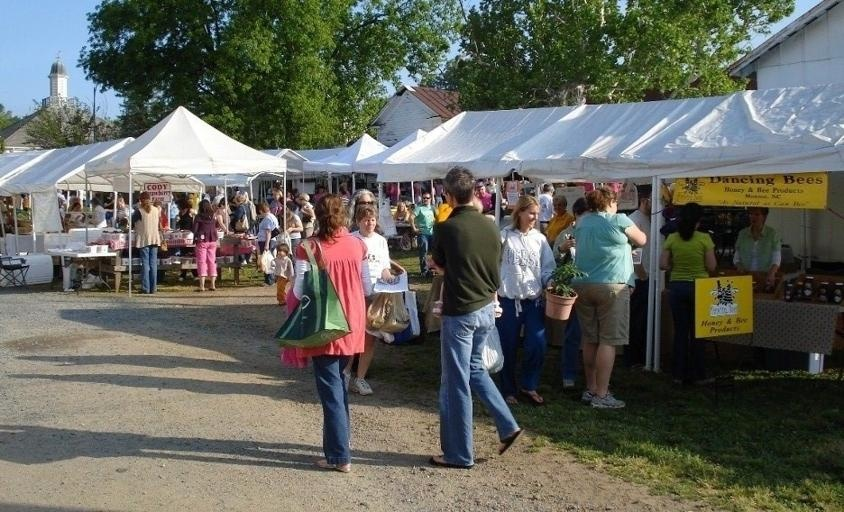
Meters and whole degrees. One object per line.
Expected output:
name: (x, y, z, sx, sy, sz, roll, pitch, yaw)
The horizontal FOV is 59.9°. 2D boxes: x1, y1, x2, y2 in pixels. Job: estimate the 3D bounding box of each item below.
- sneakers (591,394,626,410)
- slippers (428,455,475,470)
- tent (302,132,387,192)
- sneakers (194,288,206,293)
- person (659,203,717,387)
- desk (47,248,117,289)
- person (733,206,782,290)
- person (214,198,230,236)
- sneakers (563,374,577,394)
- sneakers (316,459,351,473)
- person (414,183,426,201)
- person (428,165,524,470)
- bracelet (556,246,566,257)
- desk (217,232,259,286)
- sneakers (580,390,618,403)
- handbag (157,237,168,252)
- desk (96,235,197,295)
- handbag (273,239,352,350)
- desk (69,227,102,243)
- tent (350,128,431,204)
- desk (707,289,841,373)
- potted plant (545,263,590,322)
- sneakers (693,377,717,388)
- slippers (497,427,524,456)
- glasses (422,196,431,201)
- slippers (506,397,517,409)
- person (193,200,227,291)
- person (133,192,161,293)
sneakers: (2.455, 1.943, 9.734, 0.481, 0.199, 0.170, 0, 0, -4)
slippers: (0.334, 2.382, 8.426, 0.479, 0.116, 0.175, 4, -4, 8)
tent: (-2.209, -2.944, 22.155, 2.663, 1.282, 2.690, -4, 4, -41)
sneakers: (-4.801, 0.778, 15.934, 0.096, 0.097, 0.251, -1, -5, -42)
person: (3.647, 0.557, 10.155, 0.756, 2.513, 0.358, 4, 10, 9)
desk: (-7.235, 0.347, 15.684, 1.197, 0.680, 1.127, -2, 5, -9)
person: (4.958, -0.126, 10.841, 0.635, 1.126, 0.811, 7, 10, 24)
person: (-5.061, -0.932, 18.389, 0.416, 1.030, 0.357, 18, 29, 4)
sneakers: (2.020, 1.772, 10.162, 0.209, 0.178, 0.164, 6, -15, -1)
sneakers: (-0.984, 2.391, 8.304, 0.364, 0.145, 0.149, 6, 3, 13)
person: (-0.080, -2.233, 26.339, 0.732, 0.381, 1.695, 5, -3, 0)
person: (0.561, 0.727, 8.399, 0.969, 3.378, 0.602, 2, 10, 0)
bracelet: (1.964, -0.030, 10.393, 0.110, 0.075, 0.136, 2, -4, -1)
desk: (-4.321, 0.098, 17.226, 1.219, 1.071, 1.199, 5, 8, 38)
sneakers: (2.327, 1.878, 9.791, 0.510, 0.199, 0.162, 0, 1, 0)
handbag: (-5.597, -0.202, 15.955, 0.215, 0.326, 0.345, -7, 7, -23)
desk: (-5.927, -0.007, 15.902, 1.410, 0.757, 1.684, -3, 7, -32)
handbag: (-1.171, 0.466, 8.090, 0.790, 1.173, 0.346, 5, 10, 15)
desk: (-7.911, -0.459, 17.388, 0.969, 0.419, 0.665, 0, 1, -39)
tent: (-0.400, -1.820, 14.747, 1.325, 0.623, 1.259, -17, 19, -25)
desk: (5.231, 1.075, 10.196, 1.380, 0.630, 1.418, 6, 8, 41)
potted plant: (1.841, 0.451, 9.395, 0.350, 0.673, 0.605, 11, 13, 43)
sneakers: (3.923, 1.774, 10.211, 0.217, 0.097, 0.273, 1, 3, 13)
slippers: (0.988, 2.172, 8.577, 0.166, 0.440, 0.160, 27, 37, -19)
glasses: (0.102, -1.360, 18.390, 0.187, 0.198, 0.203, -2, 10, 6)
slippers: (1.189, 1.920, 9.658, 0.073, 0.079, 0.198, 2, -14, -25)
person: (-4.684, -0.219, 15.989, 0.498, 2.013, 0.993, 0, 10, -16)
person: (-5.791, -0.235, 15.502, 0.531, 2.123, 0.343, -1, 10, -20)
